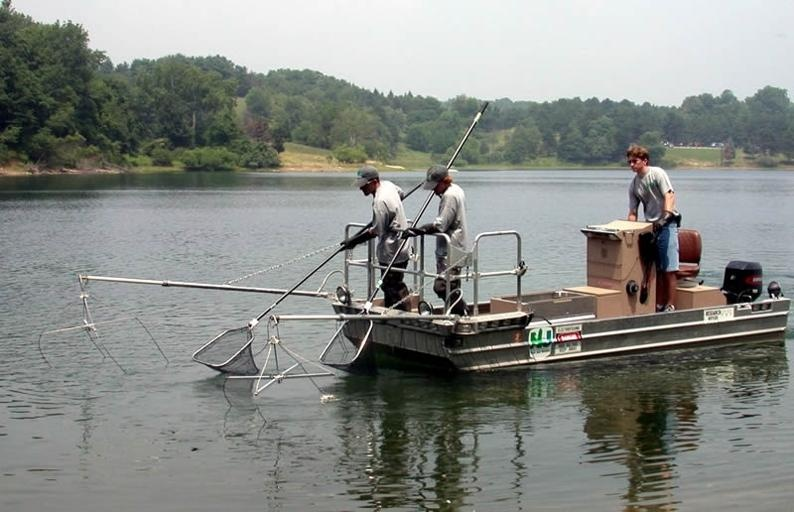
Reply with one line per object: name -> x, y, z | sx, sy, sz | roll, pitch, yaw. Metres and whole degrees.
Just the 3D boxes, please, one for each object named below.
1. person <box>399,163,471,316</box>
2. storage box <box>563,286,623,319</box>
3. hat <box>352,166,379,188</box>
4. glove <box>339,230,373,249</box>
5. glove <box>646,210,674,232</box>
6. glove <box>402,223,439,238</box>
person -> 0.922, -0.335, 23.382 | 0.882, 2.996, 1.540 | -1, 4, 2
storage box -> 4.107, 0.947, 24.245 | 0.991, 0.627, 0.577 | 2, 4, 36
hat -> -0.635, -1.605, 23.573 | 0.468, 0.440, 0.444 | -1, 4, 1
glove -> -0.835, -0.343, 23.643 | 0.757, 0.365, 0.613 | -2, 3, -18
glove -> 5.426, -0.707, 23.925 | 0.386, 0.181, 0.536 | -41, 9, -34
glove -> 0.397, -0.510, 23.047 | 0.426, 0.269, 0.810 | 2, 4, 39
